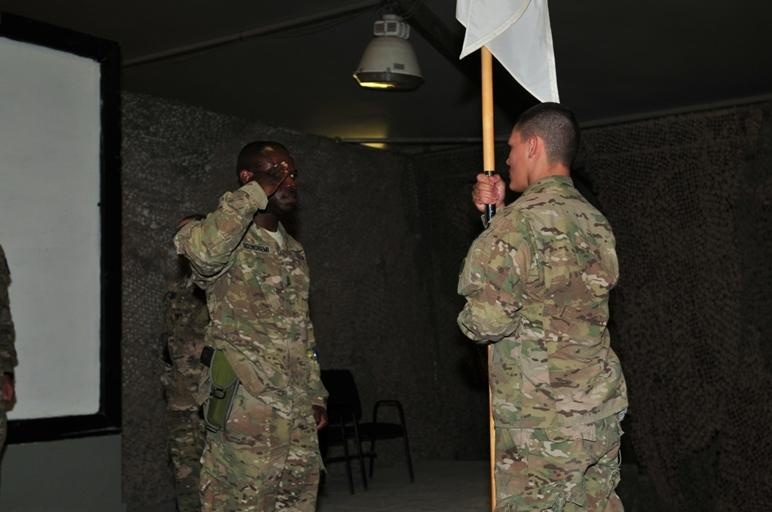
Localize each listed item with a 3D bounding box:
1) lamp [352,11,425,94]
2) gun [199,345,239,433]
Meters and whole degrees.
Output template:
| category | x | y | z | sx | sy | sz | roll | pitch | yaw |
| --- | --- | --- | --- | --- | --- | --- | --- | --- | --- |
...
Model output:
| category | x | y | z | sx | sy | sz | roll | pitch | yaw |
| --- | --- | --- | --- | --- | --- | --- | --- | --- | --- |
| lamp | 0.047 | -1.792 | 7.774 | 0.647 | 0.644 | 0.629 | 3 | 0 | -2 |
| gun | -0.988 | 0.781 | 5.111 | 0.259 | 0.497 | 0.071 | -3 | -9 | 26 |
